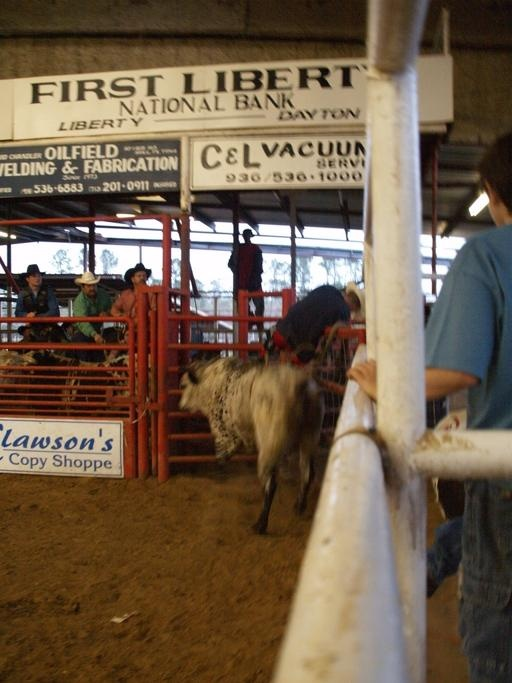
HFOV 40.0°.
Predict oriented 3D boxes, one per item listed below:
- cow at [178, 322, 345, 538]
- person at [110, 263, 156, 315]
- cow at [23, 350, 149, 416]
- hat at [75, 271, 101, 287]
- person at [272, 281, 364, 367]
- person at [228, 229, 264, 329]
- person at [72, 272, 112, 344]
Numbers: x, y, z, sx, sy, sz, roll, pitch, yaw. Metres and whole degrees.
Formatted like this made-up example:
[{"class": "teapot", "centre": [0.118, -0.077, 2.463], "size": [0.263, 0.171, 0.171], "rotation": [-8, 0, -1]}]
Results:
[{"class": "cow", "centre": [-0.076, 0.468, 4.042], "size": [0.324, 1.022, 1.195], "rotation": [-9, 14, -39]}, {"class": "person", "centre": [-1.233, -0.529, 6.997], "size": [0.366, 0.515, 1.673], "rotation": [-1, 1, -9]}, {"class": "cow", "centre": [-1.366, 0.343, 5.461], "size": [0.668, 0.364, 0.754], "rotation": [1, 5, -12]}, {"class": "hat", "centre": [-1.557, -0.609, 6.465], "size": [0.164, 0.102, 0.206], "rotation": [-3, -13, -38]}, {"class": "person", "centre": [0.369, -0.062, 4.460], "size": [0.719, 0.471, 0.191], "rotation": [-18, 13, -12]}, {"class": "person", "centre": [-0.134, -0.817, 8.862], "size": [0.448, 1.346, 1.191], "rotation": [-1, 1, -2]}, {"class": "person", "centre": [-1.486, -0.326, 6.387], "size": [0.346, 0.640, 1.262], "rotation": [-1, 1, -13]}]
